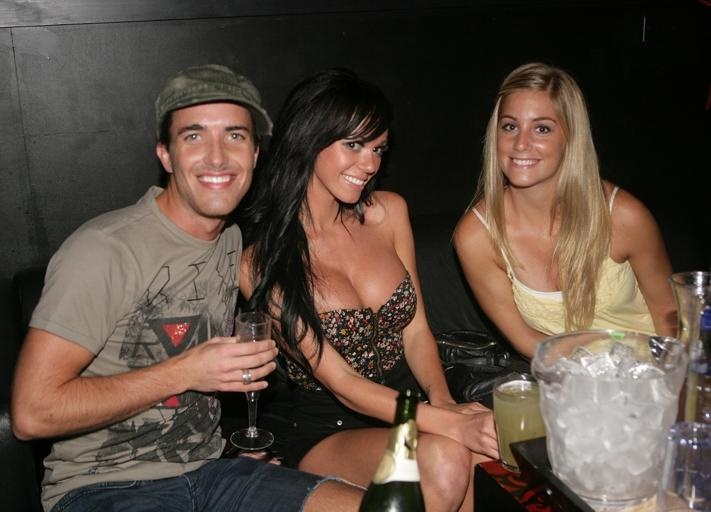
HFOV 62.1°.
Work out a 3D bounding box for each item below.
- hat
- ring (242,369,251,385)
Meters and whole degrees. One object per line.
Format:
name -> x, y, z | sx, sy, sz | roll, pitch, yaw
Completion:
hat -> -0.611, -0.651, 2.439 | 0.489, 0.247, 0.437 | -4, 11, 29
ring -> -0.390, 0.434, 2.120 | 0.035, 0.044, 0.012 | -8, 14, -19
